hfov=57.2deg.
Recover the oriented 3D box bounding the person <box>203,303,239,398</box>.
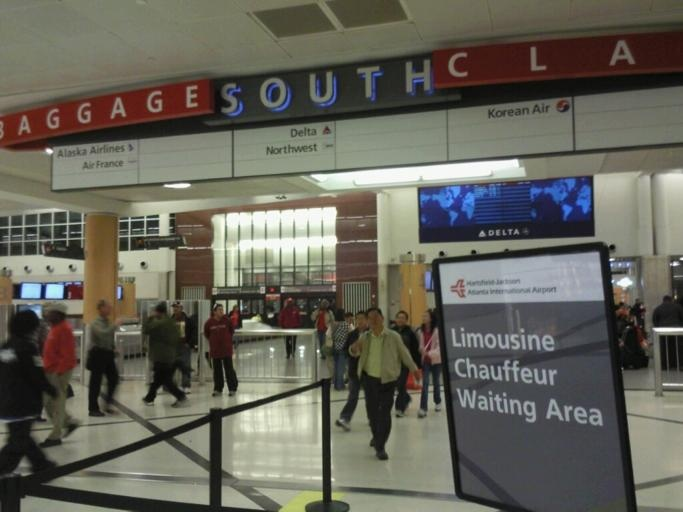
[{"bbox_3d":[-2.379,1.865,12.302,0.598,1.873,0.656,-13,1,7],"label":"person"}]

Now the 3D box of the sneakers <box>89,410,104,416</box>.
[{"bbox_3d":[-4.008,2.580,10.287,0.247,0.110,0.091,0,-8,8],"label":"sneakers"}]

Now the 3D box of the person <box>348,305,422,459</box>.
[{"bbox_3d":[0.575,1.606,8.228,0.824,1.939,1.185,-13,2,4],"label":"person"}]

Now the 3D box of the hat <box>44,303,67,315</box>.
[{"bbox_3d":[-3.927,0.714,8.605,0.233,0.119,0.167,4,-4,4],"label":"hat"}]

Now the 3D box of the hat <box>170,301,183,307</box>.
[{"bbox_3d":[-3.500,1.027,13.314,0.163,0.086,0.260,2,0,1],"label":"hat"}]
